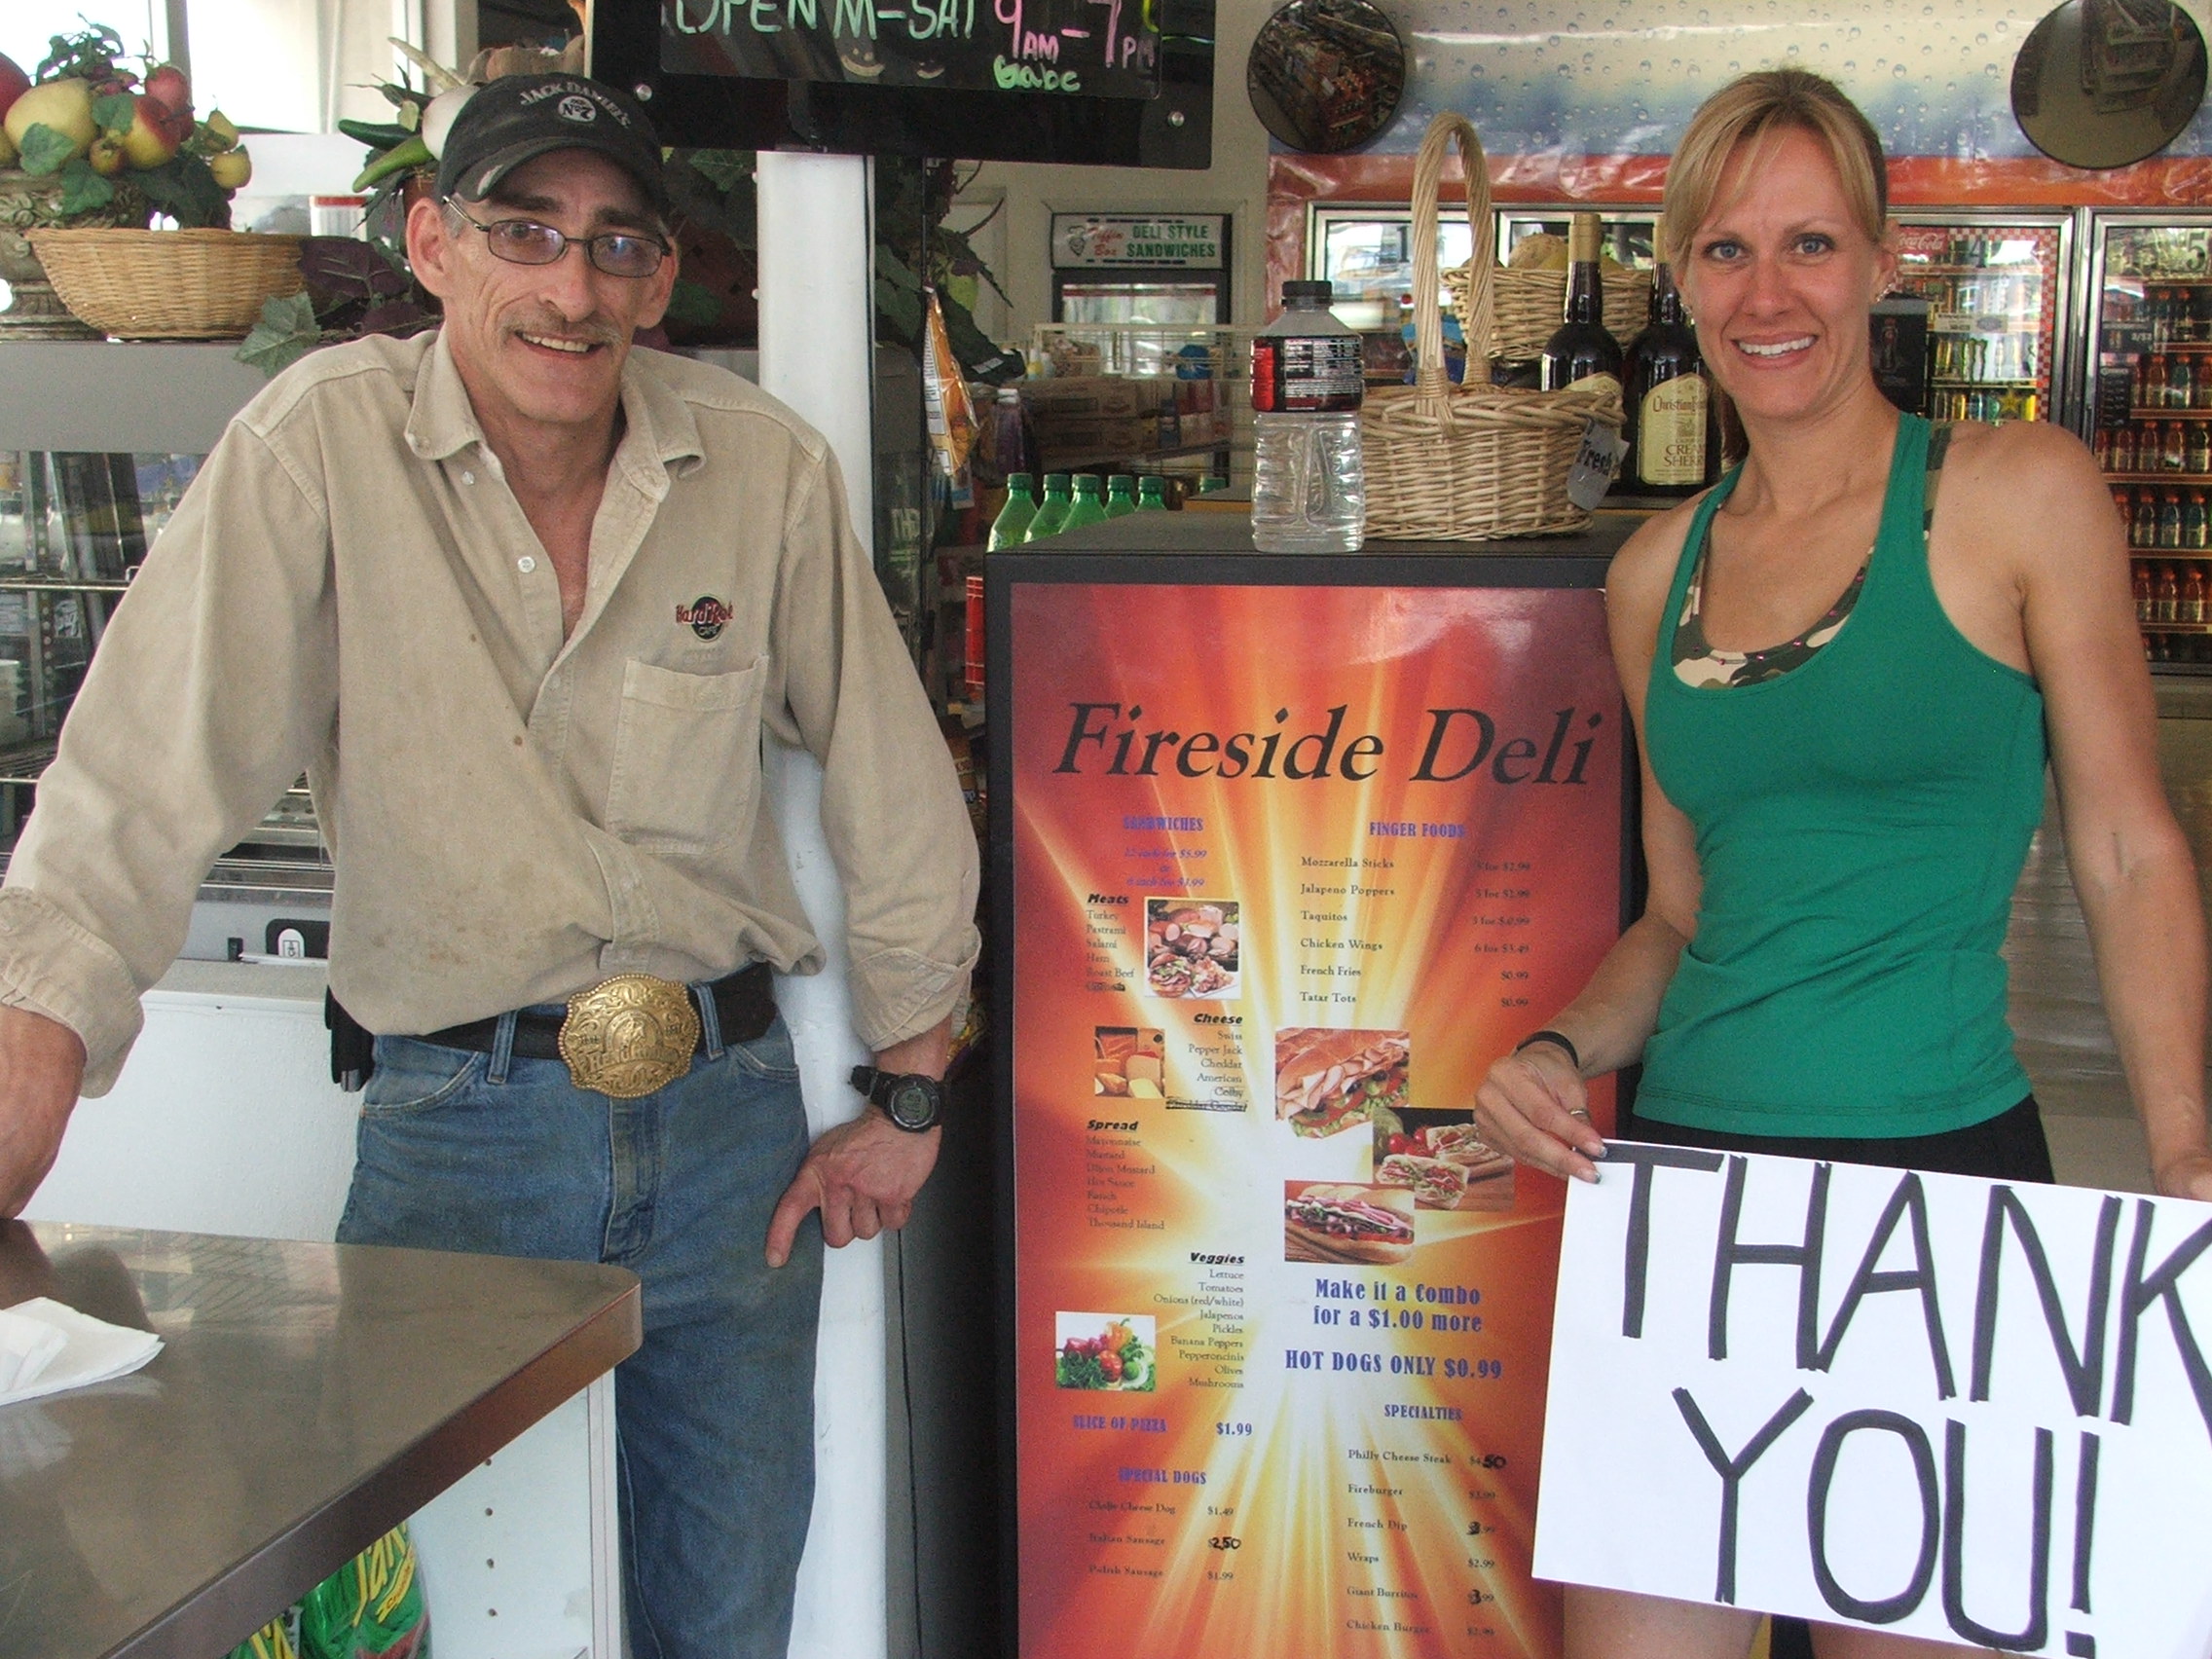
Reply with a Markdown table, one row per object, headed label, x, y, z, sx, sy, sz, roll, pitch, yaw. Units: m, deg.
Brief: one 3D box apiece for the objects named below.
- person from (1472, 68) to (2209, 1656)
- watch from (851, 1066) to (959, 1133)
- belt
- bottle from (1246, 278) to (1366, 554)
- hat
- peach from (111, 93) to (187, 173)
| label | x | y | z | sx | sy | sz | roll | pitch | yaw |
| --- | --- | --- | --- | --- | --- | --- | --- | --- | --- |
| person | 0.762 | -0.204 | 1.766 | 0.585 | 1.100 | 0.280 | 2 | 10 | 30 |
| watch | -0.247 | 0.323 | 2.165 | 0.111 | 0.064 | 0.107 | 13 | -5 | -12 |
| belt | -0.530 | 0.221 | 1.962 | 0.188 | 0.055 | 0.192 | -18 | -9 | 38 |
| bottle | 0.266 | -0.561 | 2.423 | 0.158 | 0.368 | 0.309 | -2 | 9 | 5 |
| hat | -0.592 | -0.731 | 1.896 | 0.241 | 0.146 | 0.117 | -5 | 9 | -15 |
| peach | -1.460 | -1.069 | 2.766 | 0.098 | 0.099 | 0.096 | 14 | -38 | -11 |
